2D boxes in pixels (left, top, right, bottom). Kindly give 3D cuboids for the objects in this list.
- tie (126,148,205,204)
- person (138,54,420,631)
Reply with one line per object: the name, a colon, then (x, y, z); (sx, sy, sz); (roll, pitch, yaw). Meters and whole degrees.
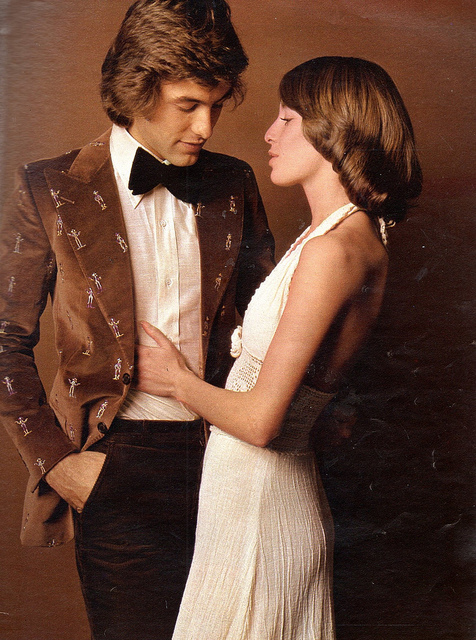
tie: (-0.173, -0.341, 1.666); (0.153, 0.137, 0.077); (8, 76, -7)
person: (0.099, 0.085, 1.486); (0.602, 1.167, 0.713); (3, 35, -7)
